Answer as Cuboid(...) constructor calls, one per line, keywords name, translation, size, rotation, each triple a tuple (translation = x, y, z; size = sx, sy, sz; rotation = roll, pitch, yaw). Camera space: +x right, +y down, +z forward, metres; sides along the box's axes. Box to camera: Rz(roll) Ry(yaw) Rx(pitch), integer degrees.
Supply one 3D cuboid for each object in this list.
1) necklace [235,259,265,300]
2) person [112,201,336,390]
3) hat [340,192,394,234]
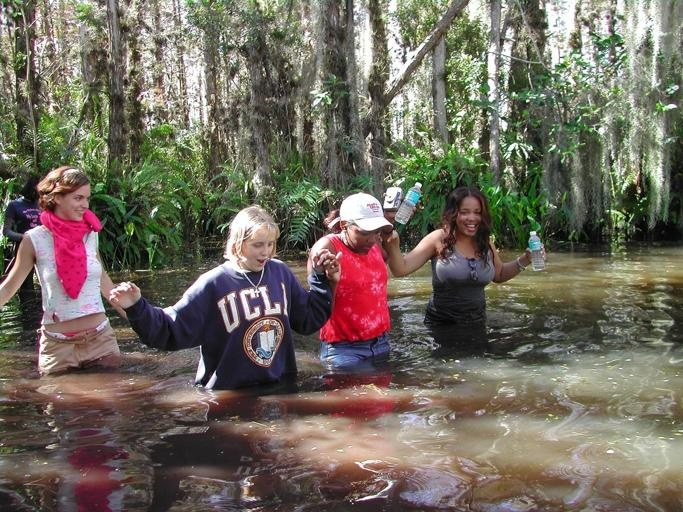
Cuboid(name="necklace", translation=(-0.628, 0.157, 3.701), size=(0.203, 0.198, 0.073), rotation=(-5, -24, -28))
Cuboid(name="person", translation=(-1.353, 0.324, 5.691), size=(2.046, 1.406, 0.602), rotation=(-12, 23, -36))
Cuboid(name="hat", translation=(0.193, -0.351, 4.224), size=(0.264, 0.222, 0.381), rotation=(-7, 16, -37))
